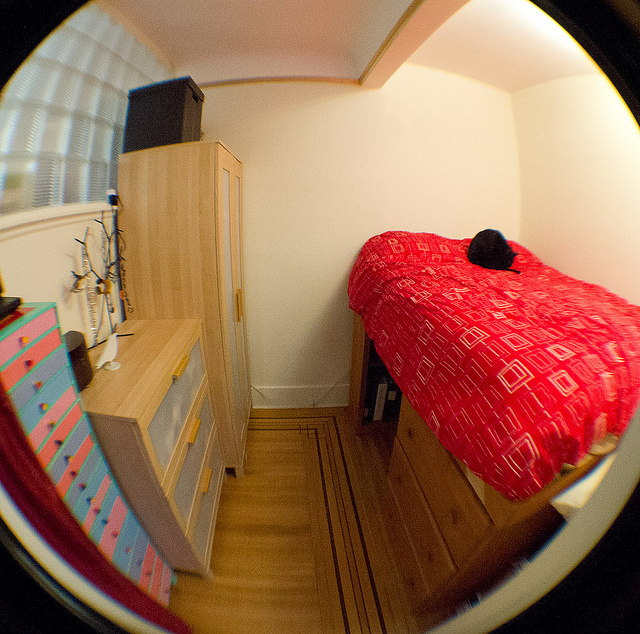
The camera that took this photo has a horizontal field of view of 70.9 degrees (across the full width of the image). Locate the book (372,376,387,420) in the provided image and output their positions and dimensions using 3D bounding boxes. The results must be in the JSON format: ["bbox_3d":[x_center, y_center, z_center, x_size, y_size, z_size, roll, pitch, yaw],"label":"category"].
[{"bbox_3d":[0.328,0.440,2.485,0.059,0.224,0.194,1,-7,1],"label":"book"}]

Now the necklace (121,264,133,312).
[{"bbox_3d":[-0.768,-0.104,1.772,0.019,0.171,0.031,-5,15,-4],"label":"necklace"}]
